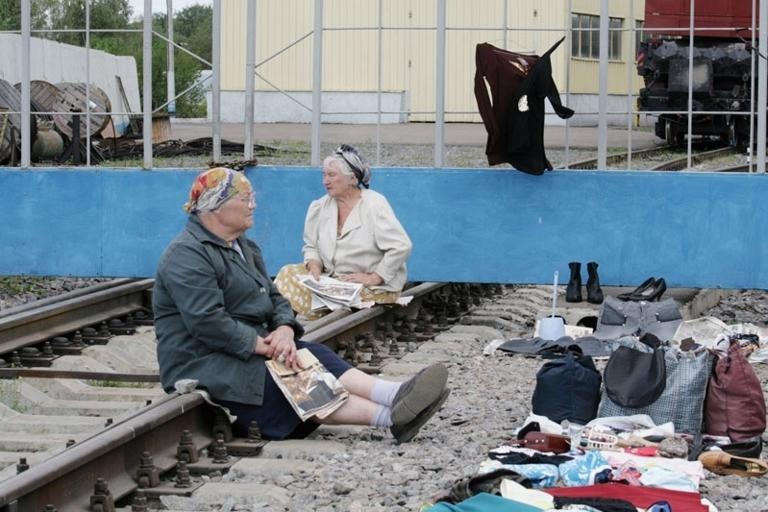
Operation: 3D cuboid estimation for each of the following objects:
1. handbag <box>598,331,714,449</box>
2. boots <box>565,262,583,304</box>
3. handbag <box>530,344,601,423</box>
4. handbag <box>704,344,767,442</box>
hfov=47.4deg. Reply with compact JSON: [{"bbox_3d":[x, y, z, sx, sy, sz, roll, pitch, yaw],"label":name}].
[{"bbox_3d":[2.097,1.058,6.792,0.706,0.768,0.681,-1,-5,27],"label":"handbag"},{"bbox_3d":[2.177,0.309,10.041,0.197,0.406,0.407,0,8,8],"label":"boots"},{"bbox_3d":[1.469,1.037,7.044,0.512,0.543,0.479,5,-2,-26],"label":"handbag"},{"bbox_3d":[2.745,1.002,6.897,0.529,0.986,0.738,-3,-4,19],"label":"handbag"}]
